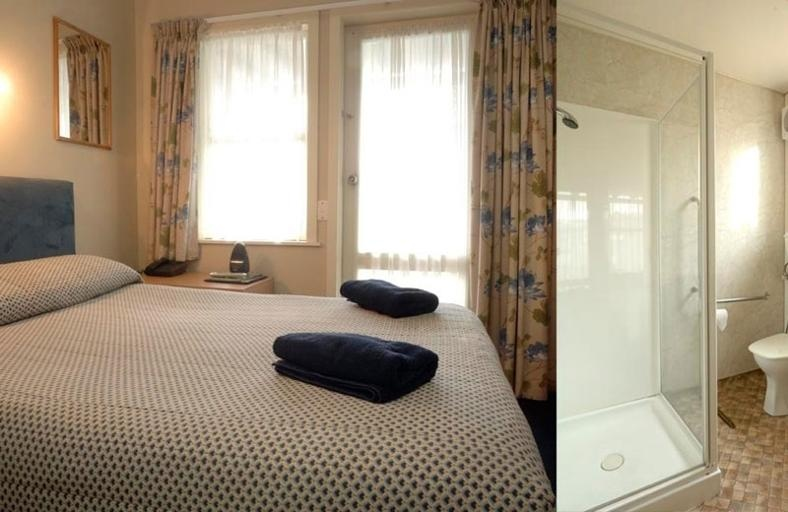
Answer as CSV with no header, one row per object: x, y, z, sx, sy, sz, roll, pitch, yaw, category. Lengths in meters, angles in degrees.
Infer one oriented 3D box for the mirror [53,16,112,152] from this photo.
-2.280,-1.246,4.010,0.111,0.872,0.533,3,8,14,mirror

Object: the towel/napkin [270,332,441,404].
-0.161,0.444,2.275,0.430,0.135,0.345,5,2,25,towel/napkin
